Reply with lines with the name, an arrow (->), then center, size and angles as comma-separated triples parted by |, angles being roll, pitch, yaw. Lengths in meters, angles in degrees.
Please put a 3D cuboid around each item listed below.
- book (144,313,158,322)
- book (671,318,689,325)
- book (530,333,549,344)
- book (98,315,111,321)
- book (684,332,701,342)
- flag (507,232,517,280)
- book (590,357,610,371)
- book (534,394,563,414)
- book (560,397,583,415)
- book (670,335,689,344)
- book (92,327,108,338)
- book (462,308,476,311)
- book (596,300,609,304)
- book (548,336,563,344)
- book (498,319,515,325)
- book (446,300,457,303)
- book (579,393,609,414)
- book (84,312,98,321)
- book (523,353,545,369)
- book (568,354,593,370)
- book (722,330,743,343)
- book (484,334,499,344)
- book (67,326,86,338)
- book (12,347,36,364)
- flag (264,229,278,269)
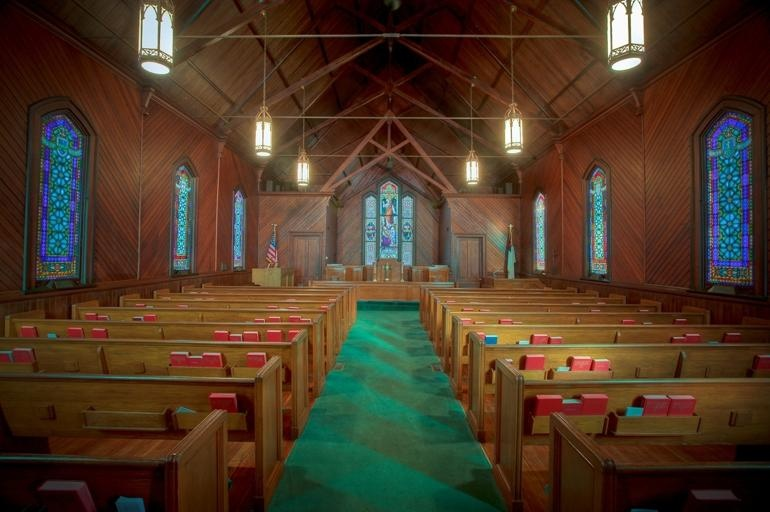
book -> -3.511, 0.918, 8.360 | 0.157, 0.113, 0.115 | -1, -2, -6
book -> 4.558, 0.985, 8.569 | 0.360, 0.075, 0.127 | 1, -3, -32
book -> 2.066, 1.123, 7.501 | 0.235, 0.226, 0.132 | 2, 7, 5
book -> -4.321, 0.936, 8.617 | 0.180, 0.055, 0.144 | 1, -2, -21
book -> 4.199, 1.115, 7.662 | 0.209, 0.166, 0.119 | -2, -6, 1
flag -> 3.579, -0.097, 15.916 | 0.297, 1.415, 0.737 | 0, -2, 13
book -> 2.622, 1.258, 6.799 | 0.226, 0.172, 0.127 | 3, -1, 7
book -> 1.789, 1.617, 6.107 | 0.196, 0.180, 0.066 | -1, -4, 1
book -> 2.030, 1.634, 6.085 | 0.230, 0.175, 0.144 | 0, 1, 6
book -> 4.000, 1.109, 7.605 | 0.263, 0.095, 0.116 | 1, -2, -19
book -> -3.926, 1.051, 7.723 | 0.126, 0.126, 0.046 | -1, 7, -1
book -> 1.325, 0.840, 8.869 | 0.179, 0.050, 0.467 | 0, -2, 8
book -> 3.767, 0.811, 9.757 | 0.172, 0.045, 0.610 | -1, -2, 22
book -> 2.282, 1.125, 7.505 | 0.139, 0.137, 0.086 | 1, 7, 4
book -> 1.792, 0.973, 8.304 | 0.165, 0.053, 0.097 | 2, -5, -9
book -> 1.158, 0.791, 9.755 | 0.173, 0.031, 0.656 | 0, -2, 6
book -> 2.261, 1.598, 6.078 | 0.204, 0.191, 0.070 | 1, 4, 1
book -> -4.462, 0.909, 8.493 | 0.201, 0.146, 0.112 | -1, 3, -6
book -> 1.827, 1.284, 6.856 | 0.178, 0.165, 0.061 | 0, -4, 0
book -> 2.386, 1.299, 6.840 | 0.160, 0.184, 0.065 | 4, 16, 4
book -> 4.794, 1.083, 7.756 | 0.196, 0.136, 0.154 | -1, 1, 13
book -> 1.387, 1.092, 7.334 | 0.157, 0.114, 0.090 | -1, -6, 6
book -> -4.248, 1.049, 7.717 | 0.135, 0.137, 0.049 | -2, 5, -2
book -> -4.508, 1.242, 6.993 | 0.187, 0.187, 0.066 | -2, 1, -5
flag -> -3.171, -0.312, 15.715 | 0.320, 1.216, 1.410 | 0, -2, -12
